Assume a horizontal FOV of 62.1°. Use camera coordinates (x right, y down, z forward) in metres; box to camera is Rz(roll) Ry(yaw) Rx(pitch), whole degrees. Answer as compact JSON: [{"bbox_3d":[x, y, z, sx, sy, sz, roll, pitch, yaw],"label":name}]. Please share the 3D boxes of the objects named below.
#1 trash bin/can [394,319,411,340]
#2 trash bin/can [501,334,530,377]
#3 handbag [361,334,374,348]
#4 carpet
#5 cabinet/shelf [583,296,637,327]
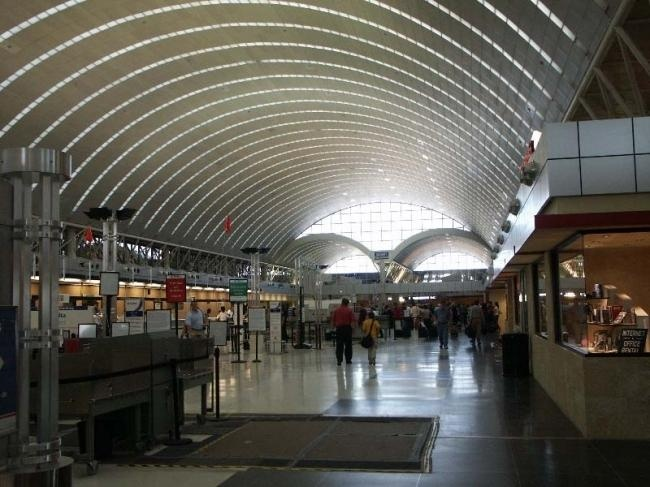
[{"bbox_3d":[5.768,6.334,39.972,1.123,1.622,1.594,-1,-2,11],"label":"trash bin/can"},{"bbox_3d":[6.003,3.716,17.012,0.866,1.582,0.986,-10,-50,24],"label":"trash bin/can"},{"bbox_3d":[1.601,3.721,20.404,0.455,0.439,0.397,0,1,8],"label":"handbag"},{"bbox_3d":[-0.296,3.378,9.299,4.417,0.288,3.242,-5,-9,9],"label":"carpet"},{"bbox_3d":[5.407,1.279,10.189,0.823,0.598,0.435,0,-10,0],"label":"cabinet/shelf"}]
